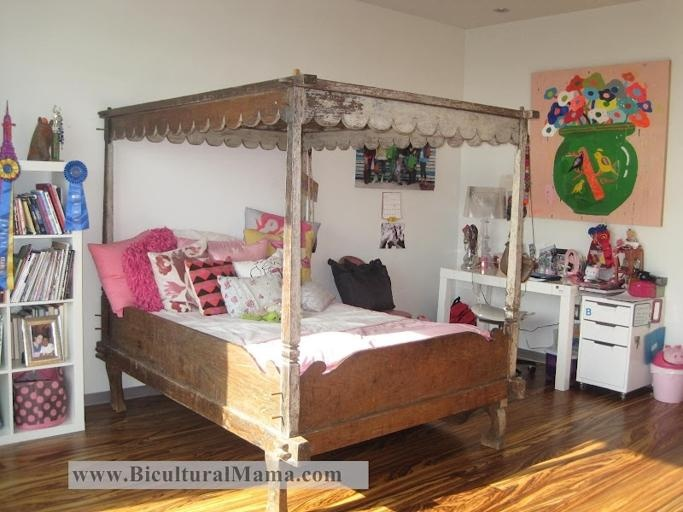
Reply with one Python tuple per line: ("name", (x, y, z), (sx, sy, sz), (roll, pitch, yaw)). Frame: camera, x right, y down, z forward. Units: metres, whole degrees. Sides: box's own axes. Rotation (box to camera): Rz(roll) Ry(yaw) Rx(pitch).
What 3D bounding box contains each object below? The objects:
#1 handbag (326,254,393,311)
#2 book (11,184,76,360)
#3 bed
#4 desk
("handbag", (0.147, 0.270, 5.001), (0.485, 0.461, 0.184), (3, -18, -37))
("book", (-2.093, 0.117, 3.689), (0.395, 1.223, 0.256), (-2, 8, -28))
("bed", (-0.278, 0.316, 4.263), (2.769, 2.565, 2.760), (-4, 7, -35))
("desk", (1.501, 0.632, 4.521), (1.037, 0.668, 0.366), (16, 20, 43))
